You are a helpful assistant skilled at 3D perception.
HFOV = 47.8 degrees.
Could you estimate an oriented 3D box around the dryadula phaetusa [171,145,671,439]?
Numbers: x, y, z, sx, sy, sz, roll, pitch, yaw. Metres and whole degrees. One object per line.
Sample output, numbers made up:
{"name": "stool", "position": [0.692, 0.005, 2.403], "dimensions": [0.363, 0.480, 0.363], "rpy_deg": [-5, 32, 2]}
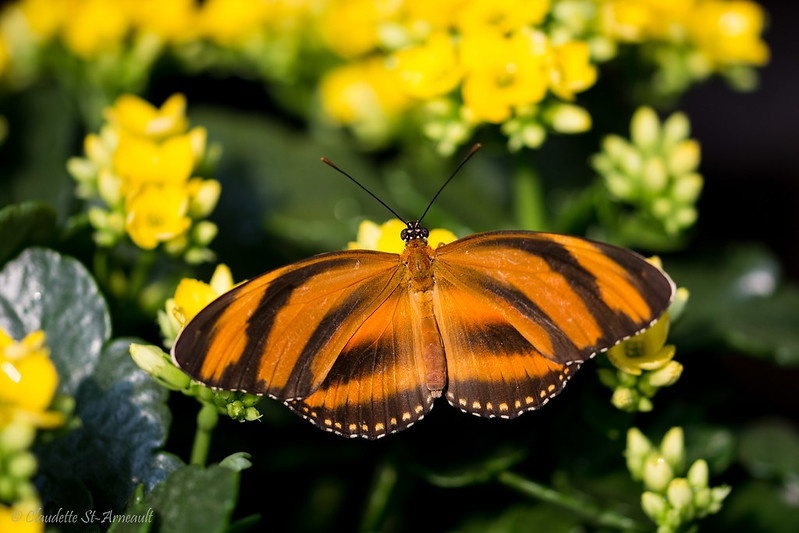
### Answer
{"name": "dryadula phaetusa", "position": [0.042, 0.073, 1.267], "dimensions": [0.658, 0.241, 0.299], "rpy_deg": [-9, 76, 4]}

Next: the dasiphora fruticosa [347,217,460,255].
{"name": "dasiphora fruticosa", "position": [0.011, -0.046, 1.371], "dimensions": [0.149, 0.040, 0.065], "rpy_deg": [0, 88, -9]}
